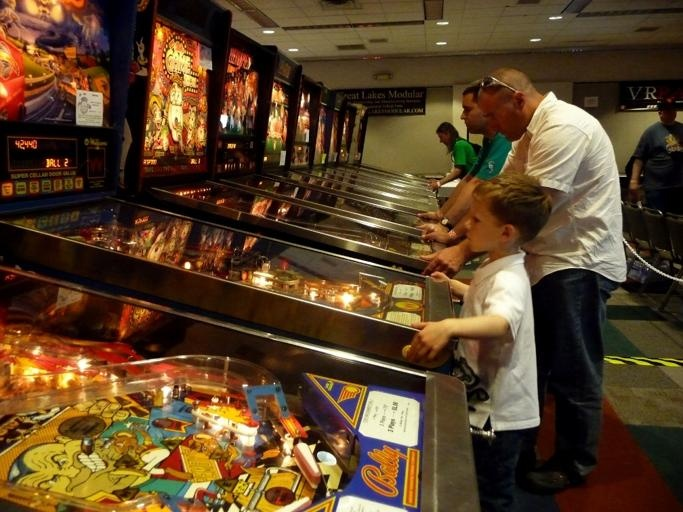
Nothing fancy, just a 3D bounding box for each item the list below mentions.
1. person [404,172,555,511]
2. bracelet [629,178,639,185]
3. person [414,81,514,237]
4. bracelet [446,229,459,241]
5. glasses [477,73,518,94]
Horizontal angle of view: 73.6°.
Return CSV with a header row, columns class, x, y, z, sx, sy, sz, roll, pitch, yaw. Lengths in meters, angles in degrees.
class,x,y,z,sx,sy,sz,roll,pitch,yaw
person,0.457,0.287,1.431,0.336,1.066,0.614,6,14,24
bracelet,3.401,-0.863,5.308,0.077,0.053,0.078,6,10,34
person,0.859,-0.577,2.937,0.610,0.968,0.366,-7,31,-1
bracelet,0.537,-0.098,2.212,0.059,0.038,0.059,9,8,20
glasses,0.631,-0.688,1.832,0.112,0.030,0.102,15,17,1
